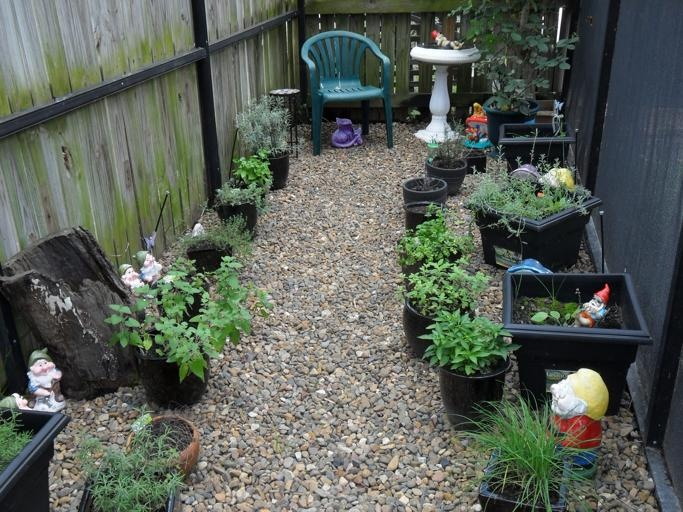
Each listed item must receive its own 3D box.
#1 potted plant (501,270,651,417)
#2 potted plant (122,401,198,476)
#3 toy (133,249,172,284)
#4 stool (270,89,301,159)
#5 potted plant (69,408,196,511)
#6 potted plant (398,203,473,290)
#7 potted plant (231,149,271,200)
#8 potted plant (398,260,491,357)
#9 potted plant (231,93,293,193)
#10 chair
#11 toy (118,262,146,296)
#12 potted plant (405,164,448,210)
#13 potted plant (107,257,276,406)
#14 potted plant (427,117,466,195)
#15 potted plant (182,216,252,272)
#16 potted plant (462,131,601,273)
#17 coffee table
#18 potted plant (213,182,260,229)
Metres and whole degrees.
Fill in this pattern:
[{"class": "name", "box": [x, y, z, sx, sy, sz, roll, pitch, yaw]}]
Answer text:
[{"class": "potted plant", "box": [1.092, 0.315, 2.318, 0.625, 0.496, 0.670, 0, 30, 10]}, {"class": "potted plant", "box": [-0.706, 0.746, 1.924, 0.233, 0.140, 0.254, 8, 34, 8]}, {"class": "toy", "box": [-1.137, 0.080, 2.803, 0.070, 0.162, 0.119, -28, -6, -47]}, {"class": "stool", "box": [-0.670, -1.431, 5.515, 0.416, 0.739, 0.413, 13, 23, 34]}, {"class": "potted plant", "box": [-0.782, 0.799, 1.926, 0.337, 0.136, 0.310, -20, 39, -26]}, {"class": "potted plant", "box": [0.568, -0.056, 3.196, 0.423, 0.573, 0.560, -1, 18, 0]}, {"class": "potted plant", "box": [-0.769, -0.664, 3.991, 0.345, 0.248, 0.348, 1, 5, -10]}, {"class": "potted plant", "box": [0.453, 0.314, 2.585, 0.343, 0.377, 0.329, -13, -14, 25]}, {"class": "potted plant", "box": [-0.651, -0.993, 4.517, 0.509, 0.738, 0.419, -7, 16, -31]}, {"class": "chair", "box": [0.041, -1.853, 5.447, 0.937, 1.261, 0.931, -5, 26, -7]}, {"class": "toy", "box": [-1.147, 0.143, 2.571, 0.108, 0.141, 0.072, -30, -12, -18]}, {"class": "potted plant", "box": [0.700, -0.485, 3.956, 0.391, 0.255, 0.393, 11, -17, -41]}, {"class": "potted plant", "box": [-0.901, 0.444, 2.291, 0.627, 0.475, 0.725, -18, -21, 3]}, {"class": "potted plant", "box": [0.979, -0.813, 4.287, 0.364, 0.546, 0.328, -15, 29, -22]}, {"class": "potted plant", "box": [-0.974, 0.001, 3.346, 0.504, 0.443, 0.541, 3, 0, -27]}, {"class": "potted plant", "box": [1.252, -0.352, 3.243, 0.831, 0.814, 1.113, -6, 38, 4]}, {"class": "coffee table", "box": [1.202, -1.886, 5.683, 0.779, 0.959, 0.779, 8, 27, 20]}, {"class": "potted plant", "box": [-0.820, -0.415, 3.662, 0.338, 0.340, 0.347, 17, 28, 37]}]
